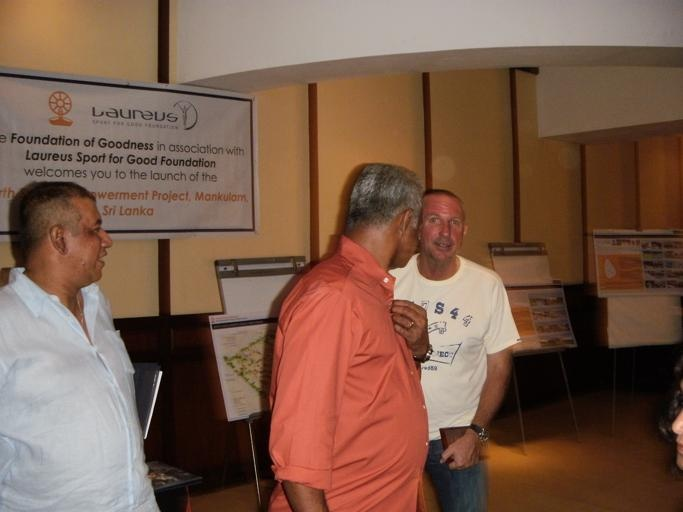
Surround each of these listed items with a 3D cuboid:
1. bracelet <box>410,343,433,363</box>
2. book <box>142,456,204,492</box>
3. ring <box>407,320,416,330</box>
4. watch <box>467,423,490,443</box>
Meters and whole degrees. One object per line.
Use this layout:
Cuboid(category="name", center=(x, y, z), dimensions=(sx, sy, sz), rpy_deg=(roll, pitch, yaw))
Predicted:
Cuboid(category="bracelet", center=(0.390, 0.481, 2.620), dimensions=(0.104, 0.083, 0.145), rpy_deg=(3, -12, -4))
Cuboid(category="book", center=(-0.803, 1.018, 2.630), dimensions=(0.225, 0.011, 0.257), rpy_deg=(-2, 7, -42))
Cuboid(category="ring", center=(0.271, 0.268, 2.122), dimensions=(0.009, 0.031, 0.022), rpy_deg=(19, 11, 33))
Cuboid(category="watch", center=(0.684, 0.892, 2.800), dimensions=(0.090, 0.055, 0.095), rpy_deg=(33, 8, -41))
